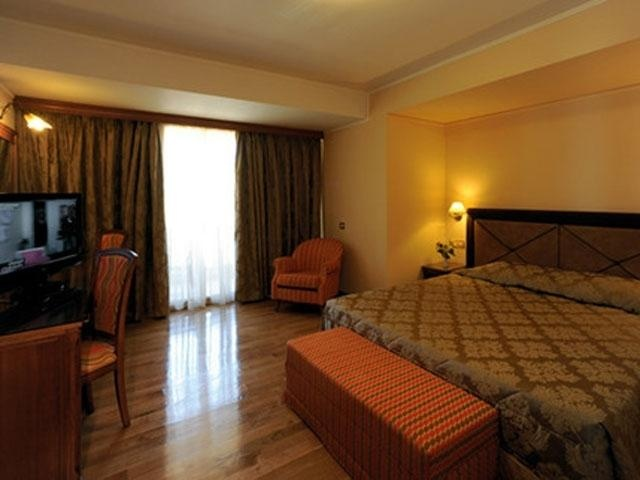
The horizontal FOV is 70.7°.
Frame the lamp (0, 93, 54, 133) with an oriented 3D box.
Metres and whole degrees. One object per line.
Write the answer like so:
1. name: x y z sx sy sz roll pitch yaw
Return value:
1. lamp: -3.041 -1.311 4.648 0.431 0.376 0.721 -3 7 -28
